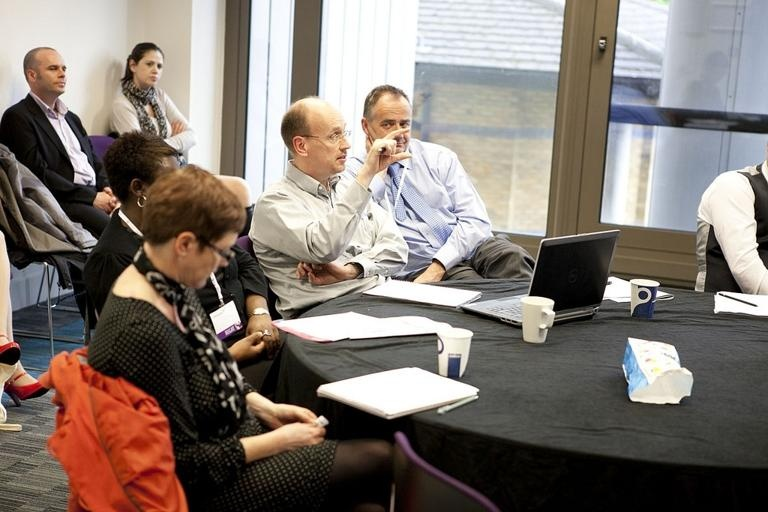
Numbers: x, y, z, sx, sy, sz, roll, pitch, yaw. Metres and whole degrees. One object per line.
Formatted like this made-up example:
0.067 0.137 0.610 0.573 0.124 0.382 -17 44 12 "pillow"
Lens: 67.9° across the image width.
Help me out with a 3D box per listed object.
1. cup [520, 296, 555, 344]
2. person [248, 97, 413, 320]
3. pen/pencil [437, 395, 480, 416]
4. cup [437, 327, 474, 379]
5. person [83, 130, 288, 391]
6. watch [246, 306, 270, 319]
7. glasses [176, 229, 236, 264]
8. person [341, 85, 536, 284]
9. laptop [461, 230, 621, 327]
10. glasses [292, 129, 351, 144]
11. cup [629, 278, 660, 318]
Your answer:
0.556 0.240 2.047 0.109 0.152 0.164 -1 10 -11 "cup"
-0.235 -0.187 2.827 0.753 1.160 0.804 4 19 28 "person"
0.207 0.430 1.634 0.113 0.016 0.016 -14 38 -42 "pen/pencil"
0.220 0.303 1.857 0.135 0.144 0.142 4 11 -1 "cup"
-0.782 0.041 2.360 0.725 1.017 0.637 1 6 11 "person"
-0.567 0.251 2.555 0.062 0.069 0.044 -19 4 36 "watch"
-0.452 -0.034 1.507 0.090 0.096 0.029 14 6 -2 "glasses"
0.297 -0.379 3.388 1.213 1.219 0.785 3 14 36 "person"
0.644 0.071 2.336 0.521 0.374 0.426 -6 12 -41 "laptop"
-0.285 -0.549 2.640 0.229 0.056 0.097 -6 11 -25 "glasses"
1.093 0.175 2.398 0.141 0.149 0.134 2 7 0 "cup"
